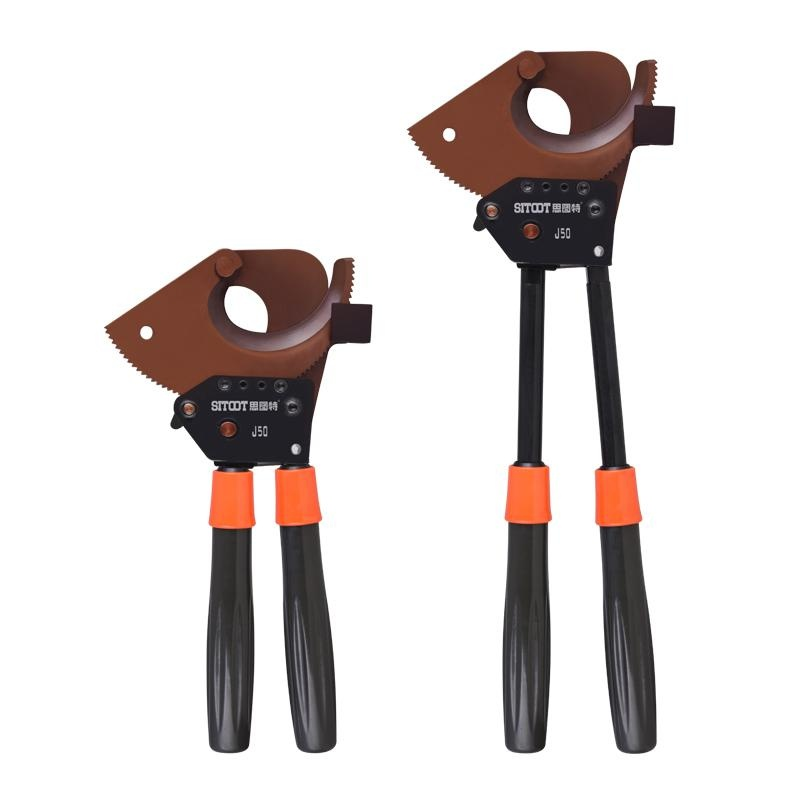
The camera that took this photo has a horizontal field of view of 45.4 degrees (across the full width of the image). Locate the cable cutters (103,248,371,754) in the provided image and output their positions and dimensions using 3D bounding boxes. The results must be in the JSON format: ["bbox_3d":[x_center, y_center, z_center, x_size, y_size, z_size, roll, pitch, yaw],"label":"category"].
[{"bbox_3d":[-0.356,0.232,2.141,0.589,1.127,0.314,-1,-10,-2],"label":"cable cutters"}]

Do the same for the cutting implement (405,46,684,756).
[{"bbox_3d":[0.335,-0.001,2.132,0.735,1.529,0.132,4,-8,-31],"label":"cutting implement"}]
